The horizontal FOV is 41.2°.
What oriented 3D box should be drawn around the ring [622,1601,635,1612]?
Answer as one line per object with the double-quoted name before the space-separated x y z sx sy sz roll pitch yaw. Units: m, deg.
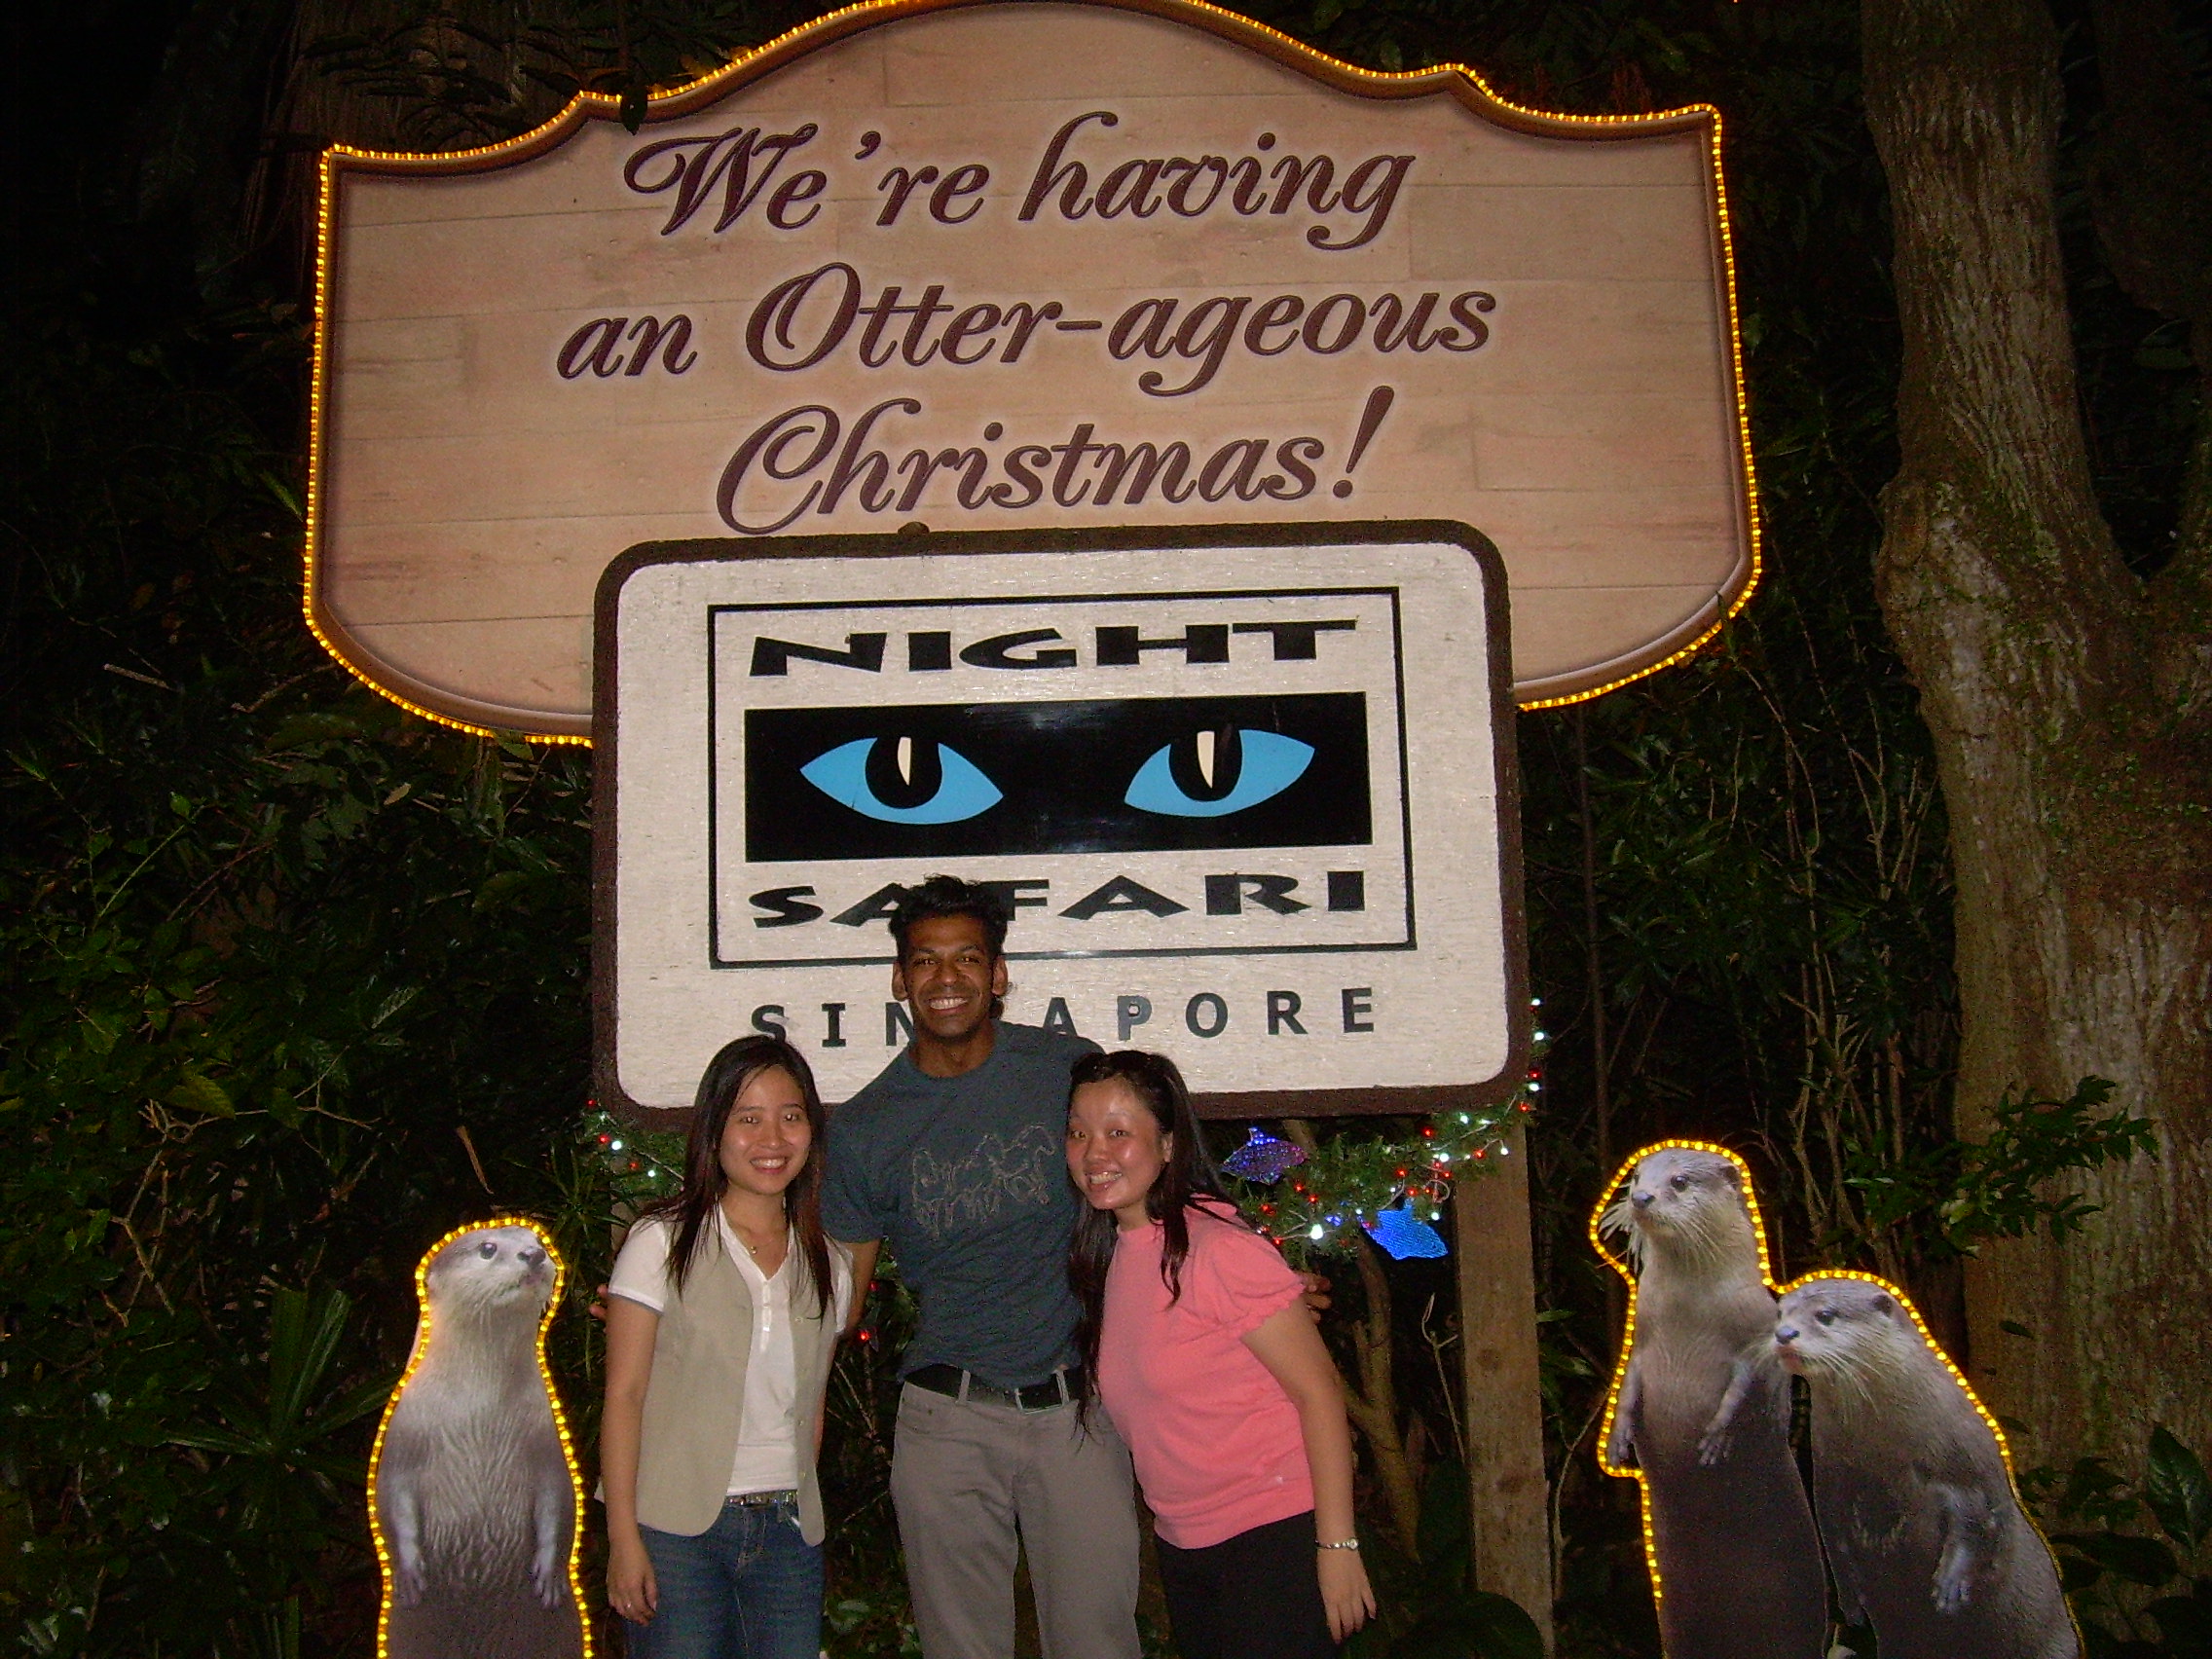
"ring" -1.490 2.416 9.113 0.028 0.014 0.016 12 11 -5
